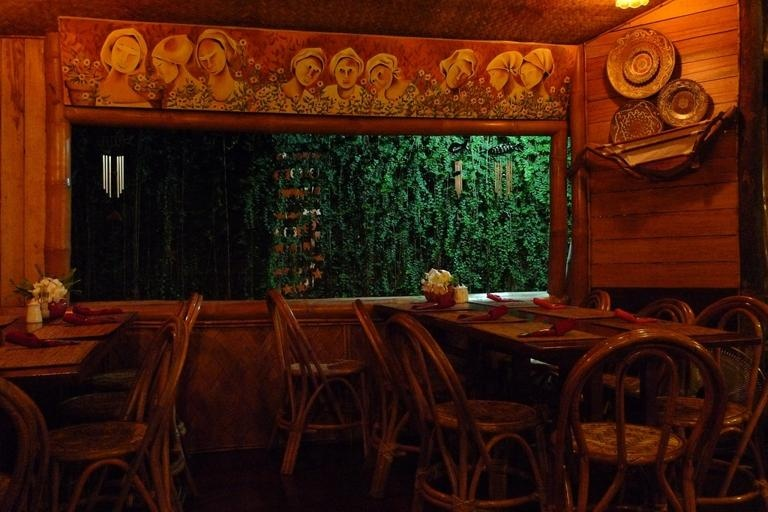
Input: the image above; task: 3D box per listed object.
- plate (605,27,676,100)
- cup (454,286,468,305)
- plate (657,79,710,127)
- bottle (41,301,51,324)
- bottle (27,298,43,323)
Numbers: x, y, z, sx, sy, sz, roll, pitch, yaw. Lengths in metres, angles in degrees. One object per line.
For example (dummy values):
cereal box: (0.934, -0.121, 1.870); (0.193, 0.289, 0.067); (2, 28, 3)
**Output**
plate: (1.893, -1.412, 4.587); (0.496, 0.468, 0.119); (24, 23, 37)
cup: (0.605, 0.300, 4.843); (0.125, 0.116, 0.125); (0, -8, 0)
plate: (2.155, -1.095, 4.430); (0.335, 0.332, 0.077); (4, 10, 42)
bottle: (-2.167, 0.349, 3.956); (0.050, 0.119, 0.088); (-6, 8, -28)
bottle: (-2.199, 0.343, 3.881); (0.094, 0.139, 0.221); (-6, 8, -29)
